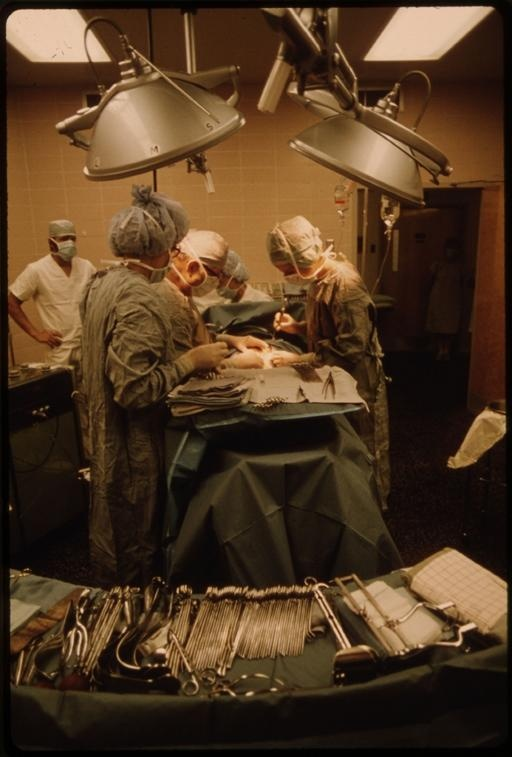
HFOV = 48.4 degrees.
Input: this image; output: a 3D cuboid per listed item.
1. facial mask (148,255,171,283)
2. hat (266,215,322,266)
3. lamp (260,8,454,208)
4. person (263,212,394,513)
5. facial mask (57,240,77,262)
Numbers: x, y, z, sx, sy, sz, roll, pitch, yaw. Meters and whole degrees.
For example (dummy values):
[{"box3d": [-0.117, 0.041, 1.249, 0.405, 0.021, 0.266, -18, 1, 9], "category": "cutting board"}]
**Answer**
[{"box3d": [-0.309, -0.359, 1.833, 0.079, 0.068, 0.080, 19, 20, 24], "category": "facial mask"}, {"box3d": [0.146, -0.514, 2.154, 0.214, 0.185, 0.123, 2, 14, 3], "category": "hat"}, {"box3d": [0.192, -0.609, 1.290, 0.344, 0.278, 0.524, 32, 12, 30], "category": "lamp"}, {"box3d": [0.292, -0.014, 2.298, 0.447, 1.218, 0.575, 9, 16, 29], "category": "person"}, {"box3d": [-0.913, -0.612, 2.740, 0.091, 0.080, 0.080, 23, 27, 40], "category": "facial mask"}]
